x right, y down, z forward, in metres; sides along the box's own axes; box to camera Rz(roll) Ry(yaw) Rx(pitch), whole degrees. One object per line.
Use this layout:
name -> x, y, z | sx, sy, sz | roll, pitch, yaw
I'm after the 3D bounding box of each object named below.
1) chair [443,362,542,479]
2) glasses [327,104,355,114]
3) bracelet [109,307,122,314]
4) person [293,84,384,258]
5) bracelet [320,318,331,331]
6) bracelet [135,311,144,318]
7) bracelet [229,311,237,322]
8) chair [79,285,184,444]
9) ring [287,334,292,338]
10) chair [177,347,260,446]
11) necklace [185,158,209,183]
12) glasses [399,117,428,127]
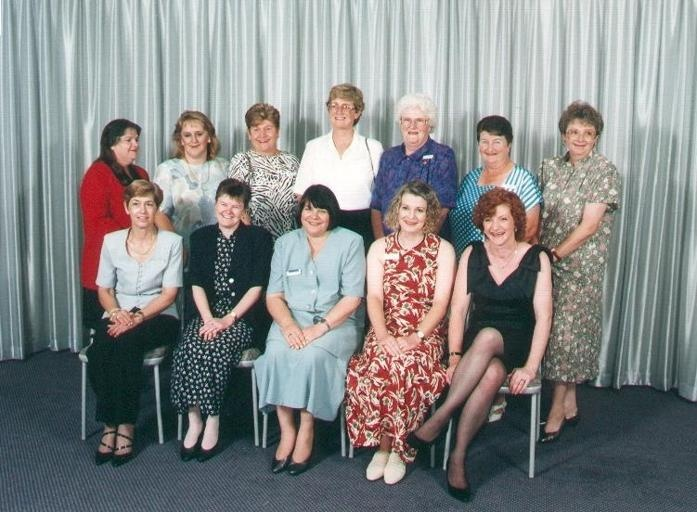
chair -> 0.879, 0.941, 4.137 | 0.533, 1.045, 0.531 | 1, 0, 7
glasses -> -0.042, -0.947, 4.280 | 0.162, 0.056, 0.051 | 2, 15, 12
bracelet -> -1.363, 0.328, 3.912 | 0.055, 0.029, 0.073 | -10, 18, -30
person -> -0.064, -0.384, 4.531 | 0.599, 1.521, 0.428 | 1, 28, -1
bracelet -> -0.126, 0.387, 3.802 | 0.046, 0.072, 0.030 | -18, 4, 32
bracelet -> -1.219, 0.343, 3.907 | 0.037, 0.042, 0.037 | 19, -8, 2
bracelet -> -0.680, 0.356, 3.957 | 0.030, 0.049, 0.048 | -29, -19, -35
chair -> -1.304, 0.670, 4.015 | 0.379, 0.797, 0.459 | 14, -17, -15
ring -> -0.333, 0.450, 3.753 | 0.019, 0.023, 0.006 | -4, -17, 10
chair -> -0.743, 0.721, 4.147 | 0.453, 0.676, 0.635 | 0, 4, 8
necklace -> -1.010, -0.549, 4.420 | 0.120, 0.110, 0.114 | -4, 12, -19
glasses -> 0.415, -0.836, 4.166 | 0.163, 0.060, 0.061 | 2, 15, 12
